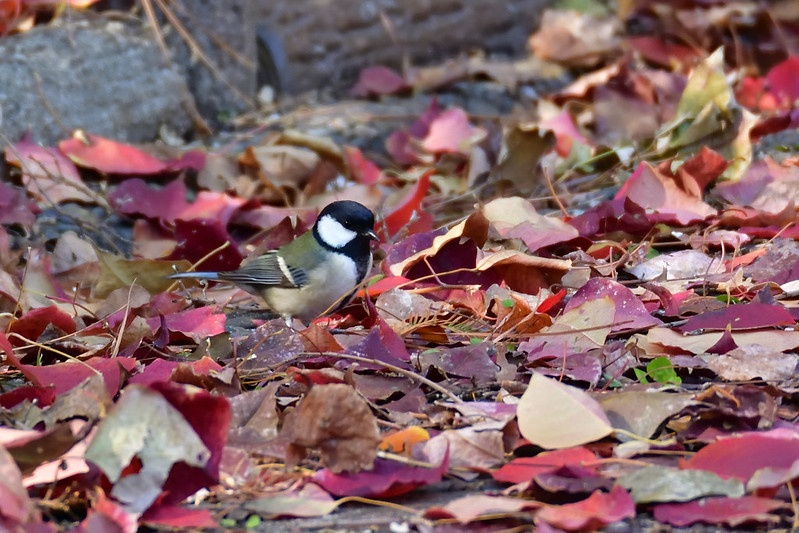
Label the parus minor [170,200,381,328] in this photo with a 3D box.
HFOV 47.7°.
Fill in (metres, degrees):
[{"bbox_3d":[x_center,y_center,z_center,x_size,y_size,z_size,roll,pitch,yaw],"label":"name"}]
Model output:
[{"bbox_3d":[-0.514,0.040,3.789,1.036,0.563,0.338,-1,4,24],"label":"parus minor"}]
